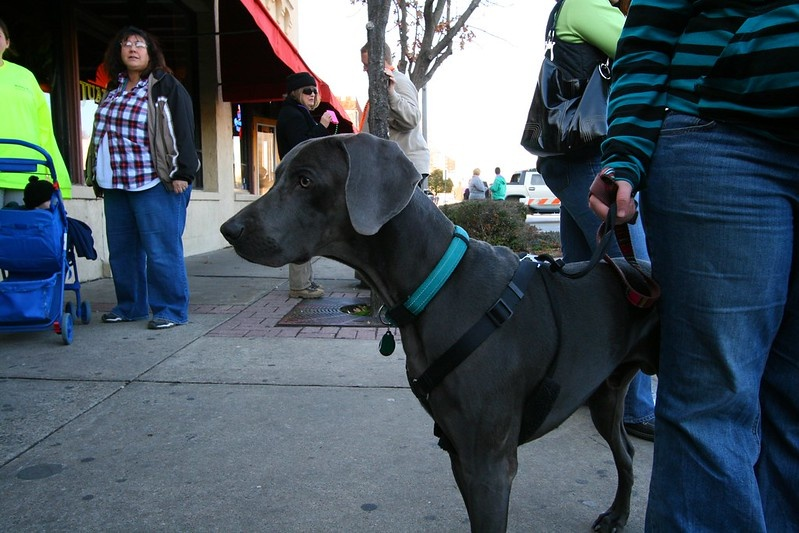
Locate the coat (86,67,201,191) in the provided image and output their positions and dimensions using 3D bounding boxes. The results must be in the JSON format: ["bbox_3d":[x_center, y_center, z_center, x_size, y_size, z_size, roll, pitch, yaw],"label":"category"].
[{"bbox_3d":[-2.085,-1.317,4.962,0.426,1.027,0.408,-3,13,-16],"label":"coat"}]

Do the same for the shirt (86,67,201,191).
[{"bbox_3d":[-2.085,-1.317,4.962,0.426,1.027,0.408,-3,13,-16],"label":"shirt"}]
